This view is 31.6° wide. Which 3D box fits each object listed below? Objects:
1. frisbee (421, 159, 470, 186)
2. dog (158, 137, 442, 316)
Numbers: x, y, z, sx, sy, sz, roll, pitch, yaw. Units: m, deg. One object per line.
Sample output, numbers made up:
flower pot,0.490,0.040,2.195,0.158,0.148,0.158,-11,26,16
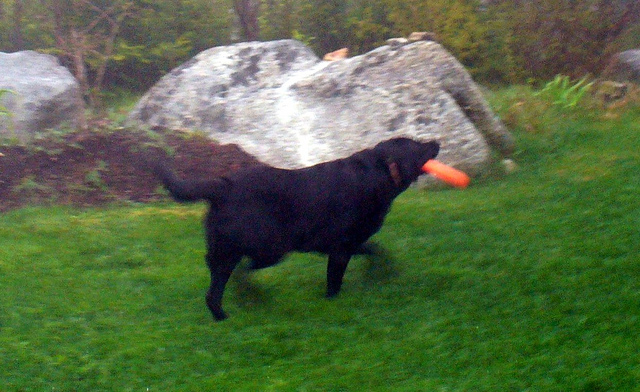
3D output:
frisbee,1.061,-0.206,10.055,0.596,0.148,0.176,23,30,39
dog,-0.306,0.141,10.951,3.366,1.458,0.955,-10,28,-37
